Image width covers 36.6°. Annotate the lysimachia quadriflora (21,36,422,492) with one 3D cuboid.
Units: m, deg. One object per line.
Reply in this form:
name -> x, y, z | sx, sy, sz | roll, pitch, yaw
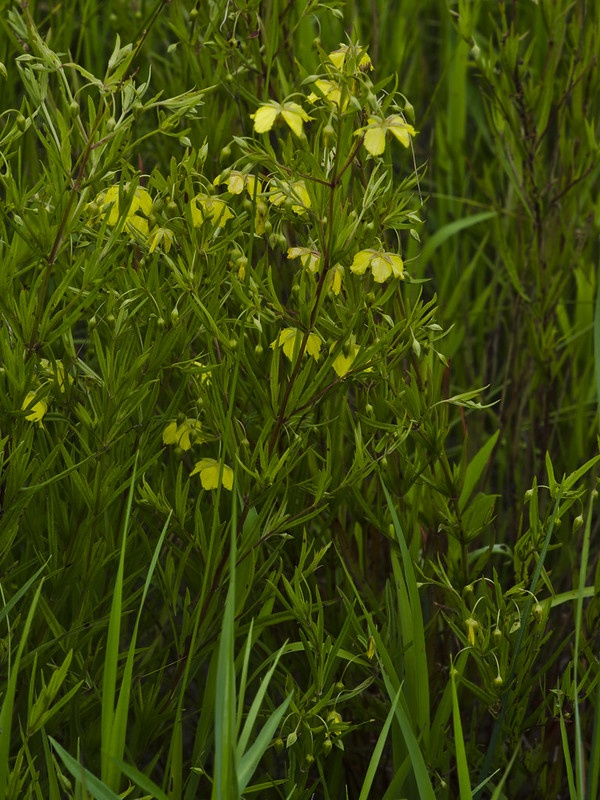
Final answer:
lysimachia quadriflora -> -0.088, -0.137, 1.027 | 0.353, 0.384, 0.670 | 1, 79, -6
